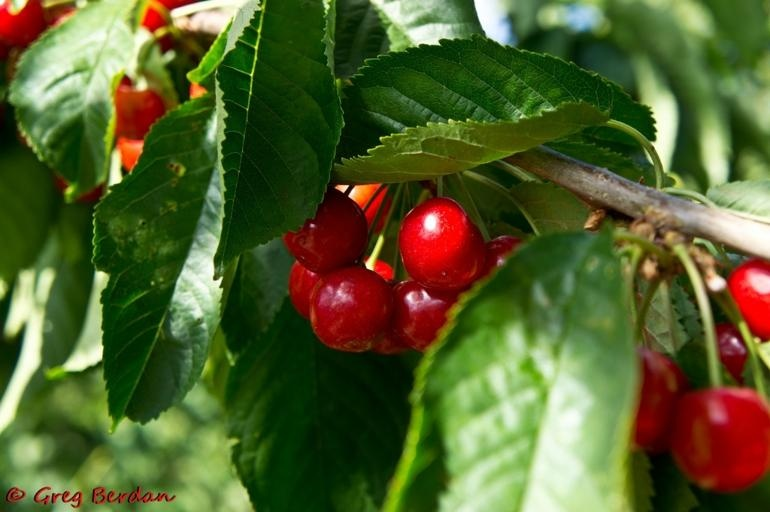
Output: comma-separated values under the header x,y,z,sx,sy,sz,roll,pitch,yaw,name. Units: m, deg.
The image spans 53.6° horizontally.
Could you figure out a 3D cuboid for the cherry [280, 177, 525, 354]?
x,y,z,sx,sy,sz,roll,pitch,yaw,name
0.014,0.031,1.193,0.324,0.265,0.220,17,24,30,cherry
